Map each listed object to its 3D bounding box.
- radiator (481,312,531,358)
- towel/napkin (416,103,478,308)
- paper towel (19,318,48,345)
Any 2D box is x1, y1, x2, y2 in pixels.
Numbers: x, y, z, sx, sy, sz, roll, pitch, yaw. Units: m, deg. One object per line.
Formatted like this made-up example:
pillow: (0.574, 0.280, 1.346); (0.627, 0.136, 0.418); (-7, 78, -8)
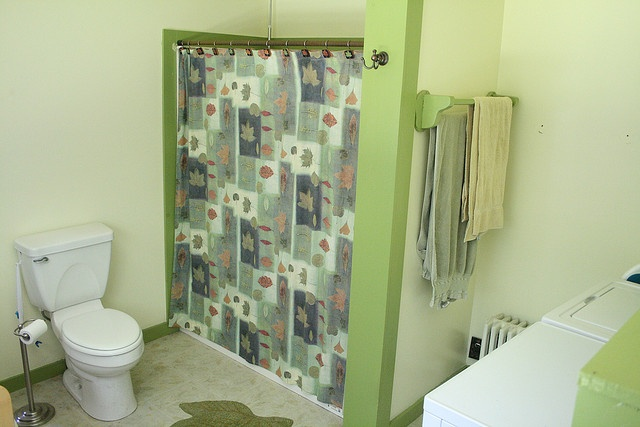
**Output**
radiator: (1.223, 0.858, 3.462); (0.285, 0.322, 0.224); (8, 20, 20)
towel/napkin: (0.751, -0.005, 3.049); (0.248, 1.157, 0.425); (15, 24, 36)
paper towel: (-1.682, 0.691, 3.035); (0.125, 0.129, 0.130); (19, 26, 41)
